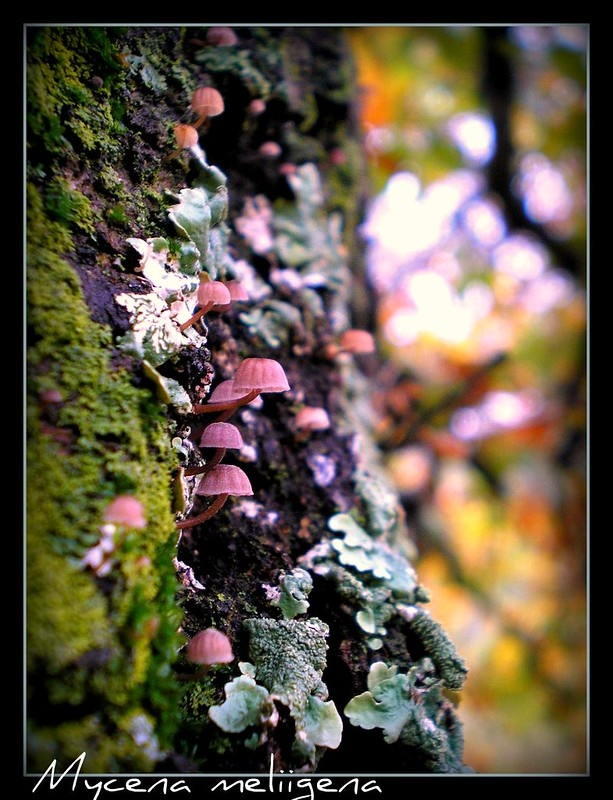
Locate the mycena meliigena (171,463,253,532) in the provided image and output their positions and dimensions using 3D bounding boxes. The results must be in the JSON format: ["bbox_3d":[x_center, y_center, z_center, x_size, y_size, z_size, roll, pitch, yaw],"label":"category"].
[{"bbox_3d":[-0.260,0.301,3.033,0.196,0.198,0.137,9,-5,-7],"label":"mycena meliigena"}]

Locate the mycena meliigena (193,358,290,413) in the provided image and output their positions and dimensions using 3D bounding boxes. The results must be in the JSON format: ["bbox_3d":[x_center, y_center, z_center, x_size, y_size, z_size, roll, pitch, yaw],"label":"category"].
[{"bbox_3d":[-0.205,-0.053,3.086,0.302,0.119,0.199,-18,-6,32],"label":"mycena meliigena"}]

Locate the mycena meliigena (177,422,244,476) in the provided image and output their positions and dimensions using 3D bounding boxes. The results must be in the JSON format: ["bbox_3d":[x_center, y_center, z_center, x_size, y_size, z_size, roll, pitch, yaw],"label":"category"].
[{"bbox_3d":[-0.263,0.147,3.049,0.155,0.138,0.110,3,6,-36],"label":"mycena meliigena"}]

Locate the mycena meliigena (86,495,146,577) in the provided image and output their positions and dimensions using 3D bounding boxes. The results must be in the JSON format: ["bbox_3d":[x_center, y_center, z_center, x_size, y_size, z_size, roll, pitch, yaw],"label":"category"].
[{"bbox_3d":[-0.539,0.368,2.748,0.124,0.169,0.197,35,-21,-4],"label":"mycena meliigena"}]

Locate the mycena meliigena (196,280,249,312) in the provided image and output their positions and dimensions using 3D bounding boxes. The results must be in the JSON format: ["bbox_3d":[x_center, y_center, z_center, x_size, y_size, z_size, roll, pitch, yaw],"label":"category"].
[{"bbox_3d":[-0.266,-0.321,3.110,0.128,0.059,0.115,-1,2,11],"label":"mycena meliigena"}]

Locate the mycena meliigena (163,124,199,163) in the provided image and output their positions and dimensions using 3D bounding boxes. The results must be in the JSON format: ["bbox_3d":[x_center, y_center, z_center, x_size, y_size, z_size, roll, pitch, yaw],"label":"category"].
[{"bbox_3d":[-0.410,-0.814,3.175,0.131,0.082,0.072,-21,11,45],"label":"mycena meliigena"}]
